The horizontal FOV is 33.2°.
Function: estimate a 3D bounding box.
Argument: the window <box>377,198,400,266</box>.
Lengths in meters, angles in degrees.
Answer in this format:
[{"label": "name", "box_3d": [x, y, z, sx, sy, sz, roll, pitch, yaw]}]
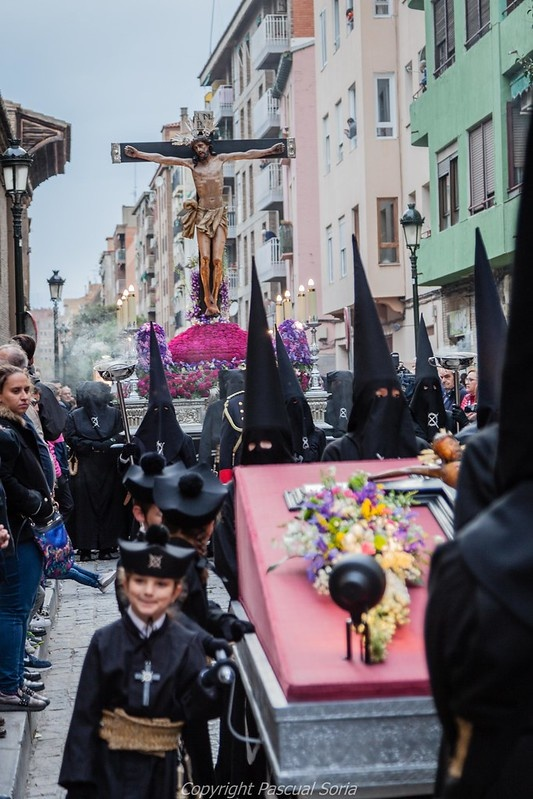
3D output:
[{"label": "window", "box_3d": [3.155, -4.318, 23.132, 0.528, 1.836, 0.141, -1, -11, 6]}]

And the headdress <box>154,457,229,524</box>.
[{"label": "headdress", "box_3d": [-0.276, 0.351, 3.317, 0.288, 0.150, 0.258, 8, 39, 16]}]

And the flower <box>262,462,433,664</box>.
[{"label": "flower", "box_3d": [0.300, 0.467, 2.820, 0.484, 0.503, 0.489, -15, 10, -10]}]

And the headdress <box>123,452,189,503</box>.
[{"label": "headdress", "box_3d": [-0.456, 0.287, 3.590, 0.250, 0.186, 0.324, 1, 7, -16]}]

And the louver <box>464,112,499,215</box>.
[{"label": "louver", "box_3d": [4.199, -4.599, 17.320, 0.096, 1.559, 1.485, 7, 31, 32]}]

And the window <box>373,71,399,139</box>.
[{"label": "window", "box_3d": [3.085, -7.643, 23.357, 0.650, 2.050, 0.094, 0, -17, 2]}]

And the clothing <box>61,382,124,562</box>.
[{"label": "clothing", "box_3d": [-1.976, 0.787, 10.443, 0.673, 2.140, 0.563, -5, 20, -17]}]

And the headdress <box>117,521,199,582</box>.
[{"label": "headdress", "box_3d": [-0.351, 0.491, 2.839, 0.243, 0.156, 0.209, 10, -13, -15]}]
